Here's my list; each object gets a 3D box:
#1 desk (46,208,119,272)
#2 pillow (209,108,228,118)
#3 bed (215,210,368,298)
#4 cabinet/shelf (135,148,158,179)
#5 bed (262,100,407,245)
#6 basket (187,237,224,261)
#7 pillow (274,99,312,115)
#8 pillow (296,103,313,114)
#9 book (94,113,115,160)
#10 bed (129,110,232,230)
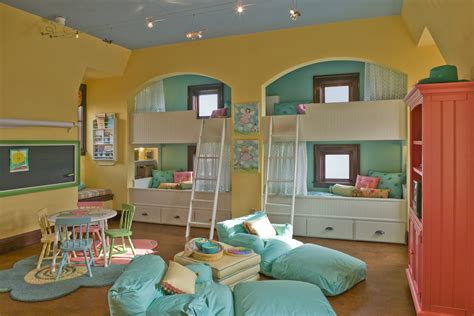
[{"bbox_3d":[-2.607,1.391,5.775,1.057,0.745,1.029,-1,0,2],"label":"desk"},{"bbox_3d":[-0.418,-1.031,7.649,0.605,0.245,0.316,2,3,44],"label":"pillow"},{"bbox_3d":[0.800,1.554,5.381,1.834,0.611,1.138,3,3,43],"label":"bed"},{"bbox_3d":[-2.429,0.152,8.851,0.421,0.736,0.806,-2,-3,28],"label":"cabinet/shelf"},{"bbox_3d":[2.027,0.311,6.843,3.133,2.820,1.188,0,-2,21],"label":"bed"},{"bbox_3d":[-0.490,1.368,4.979,0.362,0.109,0.301,1,2,41],"label":"basket"},{"bbox_3d":[1.233,-1.119,7.394,0.489,0.292,0.097,-2,-16,16],"label":"pillow"},{"bbox_3d":[1.434,-1.049,7.091,0.332,0.316,0.118,-3,-3,6],"label":"pillow"},{"bbox_3d":[-3.285,-0.504,8.277,0.730,1.211,0.182,1,2,29],"label":"book"},{"bbox_3d":[-1.304,0.297,7.776,2.979,2.757,1.165,1,3,25],"label":"bed"}]
